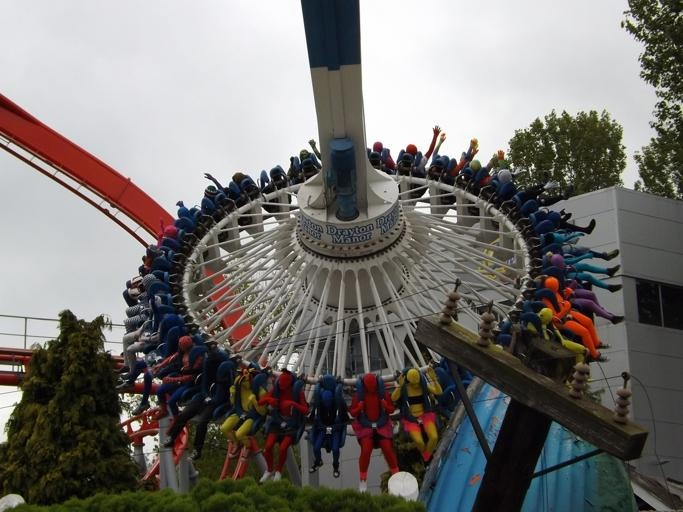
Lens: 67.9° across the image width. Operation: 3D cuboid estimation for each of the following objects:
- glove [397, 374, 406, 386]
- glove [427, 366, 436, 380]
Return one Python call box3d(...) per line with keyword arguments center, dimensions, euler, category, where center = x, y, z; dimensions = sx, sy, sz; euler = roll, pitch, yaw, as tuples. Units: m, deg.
box3d(center=(1.627, 3.309, 13.761), dimensions=(0.087, 0.275, 0.183), euler=(6, -22, -34), category="glove")
box3d(center=(2.464, 3.166, 13.913), dimensions=(0.103, 0.318, 0.214), euler=(-23, -5, -29), category="glove")
